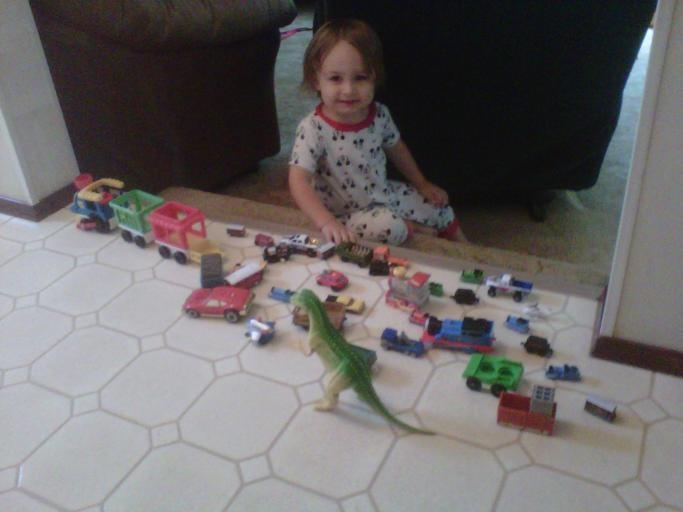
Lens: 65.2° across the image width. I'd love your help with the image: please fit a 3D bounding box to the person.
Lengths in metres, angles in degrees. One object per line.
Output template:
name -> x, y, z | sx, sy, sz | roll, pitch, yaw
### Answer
person -> 0.115, -0.372, 1.770 | 0.567, 0.726, 0.533 | -7, 33, -8
